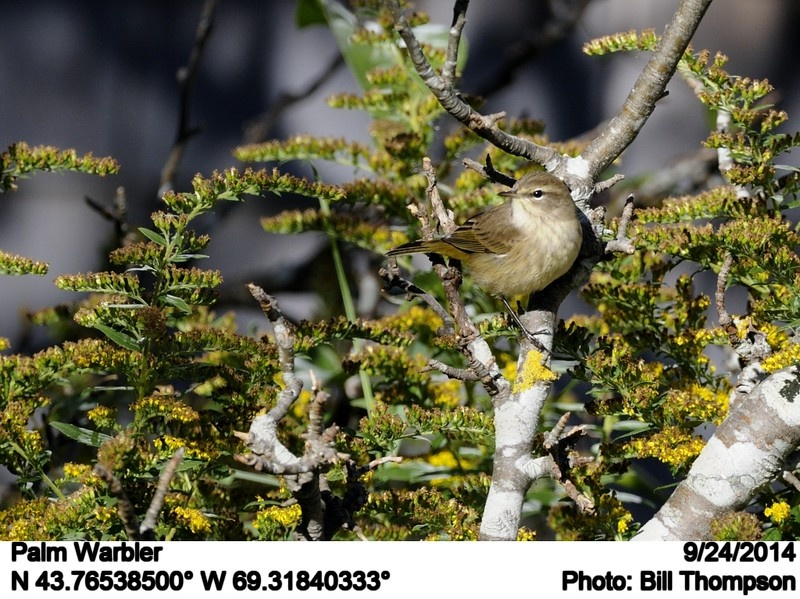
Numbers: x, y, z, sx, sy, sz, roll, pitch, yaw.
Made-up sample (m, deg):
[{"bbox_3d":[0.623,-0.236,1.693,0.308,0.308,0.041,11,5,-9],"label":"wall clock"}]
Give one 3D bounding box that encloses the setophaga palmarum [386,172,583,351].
[{"bbox_3d":[0.312,-0.255,5.477,0.782,0.576,0.422,10,29,30],"label":"setophaga palmarum"}]
